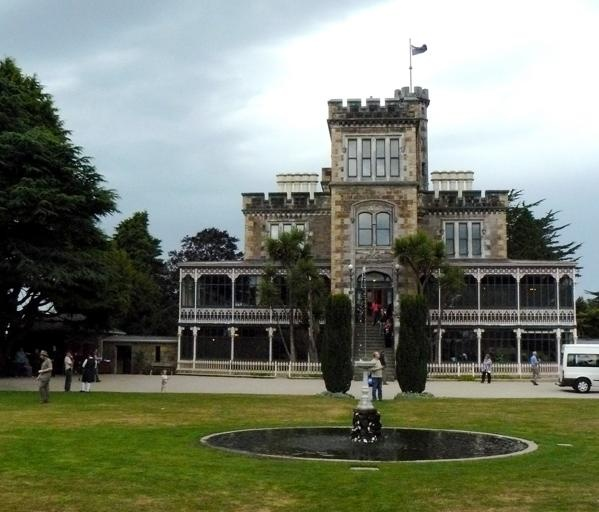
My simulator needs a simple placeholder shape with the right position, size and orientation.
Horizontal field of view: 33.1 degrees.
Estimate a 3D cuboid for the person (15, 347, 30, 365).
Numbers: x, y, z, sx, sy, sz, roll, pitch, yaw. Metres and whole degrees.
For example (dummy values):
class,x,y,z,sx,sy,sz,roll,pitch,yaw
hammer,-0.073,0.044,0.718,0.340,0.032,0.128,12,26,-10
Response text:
class,x,y,z,sx,sy,sz,roll,pitch,yaw
person,-13.824,5.026,49.965,0.570,0.647,1.237,0,0,-17
